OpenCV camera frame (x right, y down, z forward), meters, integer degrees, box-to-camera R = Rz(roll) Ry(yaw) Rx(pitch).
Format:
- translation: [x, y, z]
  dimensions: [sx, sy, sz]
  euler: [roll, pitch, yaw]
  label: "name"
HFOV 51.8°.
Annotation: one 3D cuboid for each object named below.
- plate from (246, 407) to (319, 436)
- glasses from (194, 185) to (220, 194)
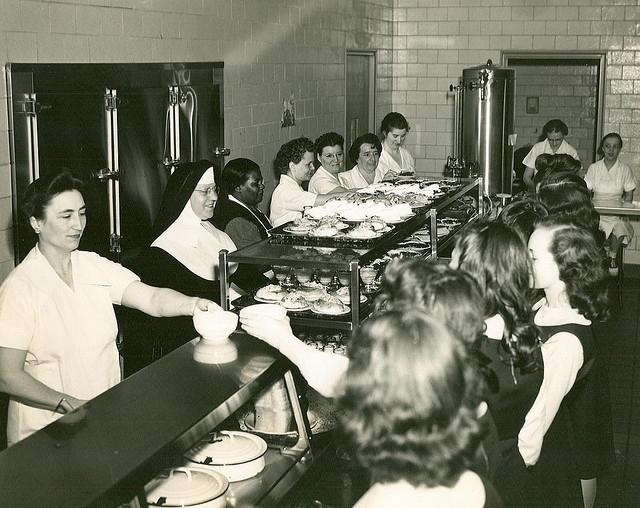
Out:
- translation: [-0.167, 0.650, 2.479]
  dimensions: [0.213, 0.068, 0.172]
  euler: [0, -3, 11]
  label: "plate"
- translation: [-0.621, -0.357, 3.595]
  dimensions: [0.120, 0.052, 0.050]
  euler: [-10, 15, -30]
  label: "glasses"
